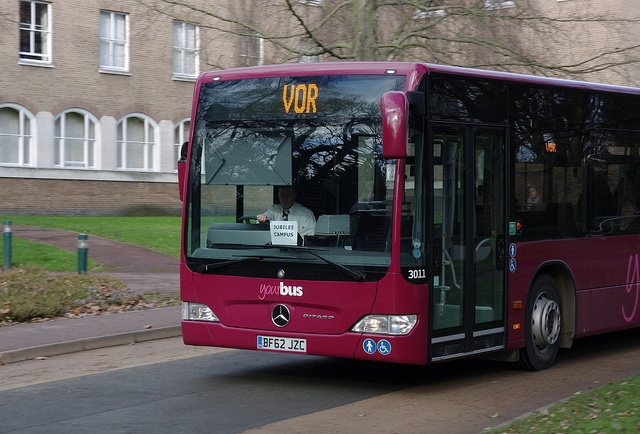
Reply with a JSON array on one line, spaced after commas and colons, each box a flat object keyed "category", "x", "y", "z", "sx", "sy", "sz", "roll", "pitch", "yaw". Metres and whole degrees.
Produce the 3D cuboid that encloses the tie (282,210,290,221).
[{"category": "tie", "x": -0.400, "y": -0.027, "z": 7.564, "sx": 0.093, "sy": 0.107, "sz": 0.032, "roll": -1, "pitch": -8, "yaw": 33}]
